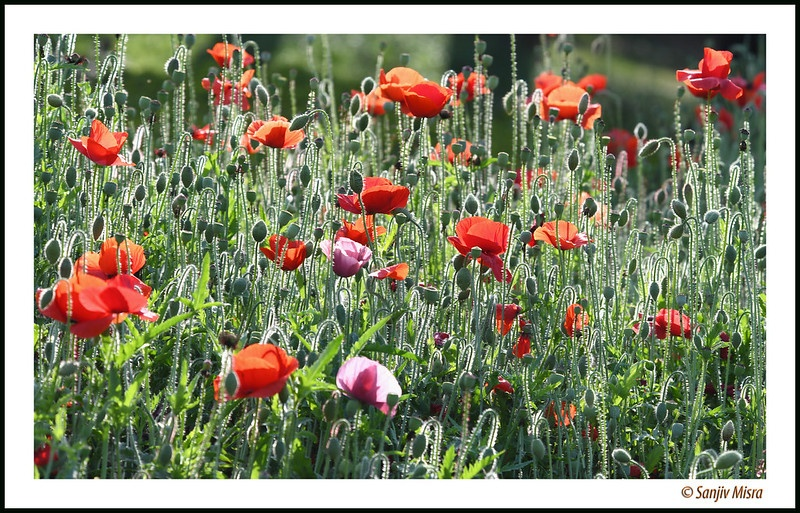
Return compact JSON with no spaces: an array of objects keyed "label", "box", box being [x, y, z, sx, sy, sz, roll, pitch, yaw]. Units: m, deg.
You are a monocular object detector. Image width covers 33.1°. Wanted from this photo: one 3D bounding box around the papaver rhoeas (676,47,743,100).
[{"label":"papaver rhoeas","box":[1.195,-0.712,5.189,0.231,0.216,0.240,1,1,12]}]
